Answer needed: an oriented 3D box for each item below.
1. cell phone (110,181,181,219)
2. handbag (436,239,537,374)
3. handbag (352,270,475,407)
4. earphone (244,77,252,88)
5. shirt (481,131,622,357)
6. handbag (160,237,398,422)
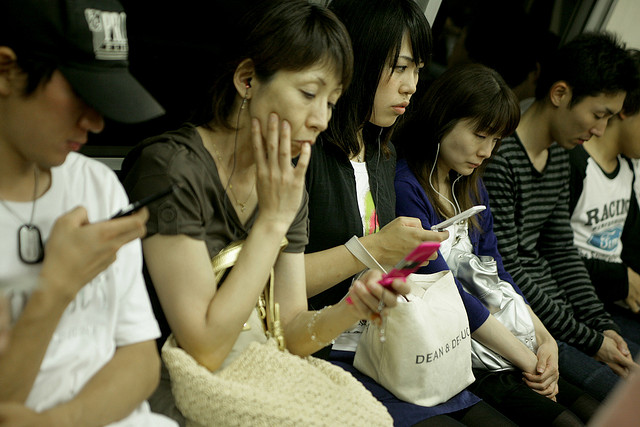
[{"bbox_3d":[-0.645,-0.051,2.201,0.239,0.035,0.028,-28,53,11],"label":"cell phone"},{"bbox_3d":[0.878,0.513,3.132,0.382,0.772,0.636,-13,-1,0],"label":"handbag"},{"bbox_3d":[0.472,0.558,2.888,0.494,0.540,0.571,10,19,36],"label":"handbag"},{"bbox_3d":[-0.298,-0.548,2.472,0.029,0.036,0.040,-17,42,-1],"label":"earphone"},{"bbox_3d":[1.526,0.227,3.776,0.768,1.690,0.761,-6,26,-12],"label":"shirt"},{"bbox_3d":[-0.231,0.513,2.607,0.948,0.943,0.633,-7,-14,29],"label":"handbag"}]
